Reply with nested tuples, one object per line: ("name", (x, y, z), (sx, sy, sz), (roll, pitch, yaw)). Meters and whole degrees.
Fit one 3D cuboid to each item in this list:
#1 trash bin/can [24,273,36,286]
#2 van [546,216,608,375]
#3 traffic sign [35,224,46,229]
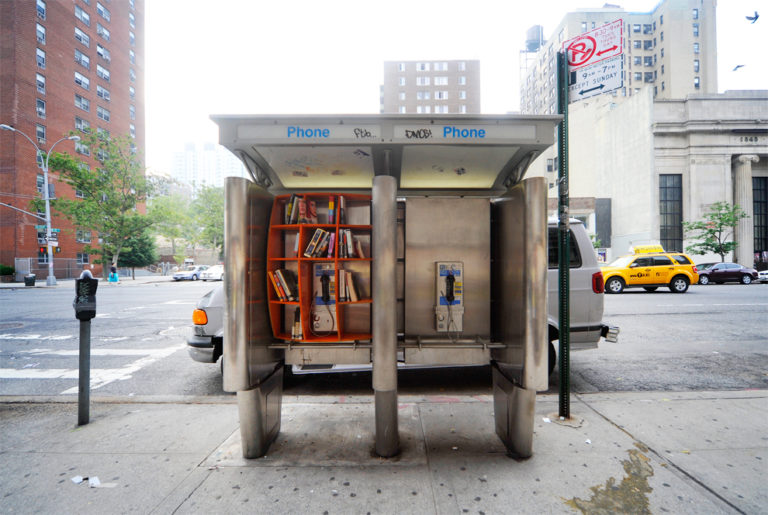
("trash bin/can", (-25.623, 1.727, 45.869), (0.783, 1.002, 1.011), (6, -23, -34))
("van", (8.055, 1.703, 27.899), (2.956, 6.789, 2.711), (1, 0, 1))
("traffic sign", (-29.191, -2.609, 53.986), (0.557, 0.383, 0.300), (-1, 4, -26))
